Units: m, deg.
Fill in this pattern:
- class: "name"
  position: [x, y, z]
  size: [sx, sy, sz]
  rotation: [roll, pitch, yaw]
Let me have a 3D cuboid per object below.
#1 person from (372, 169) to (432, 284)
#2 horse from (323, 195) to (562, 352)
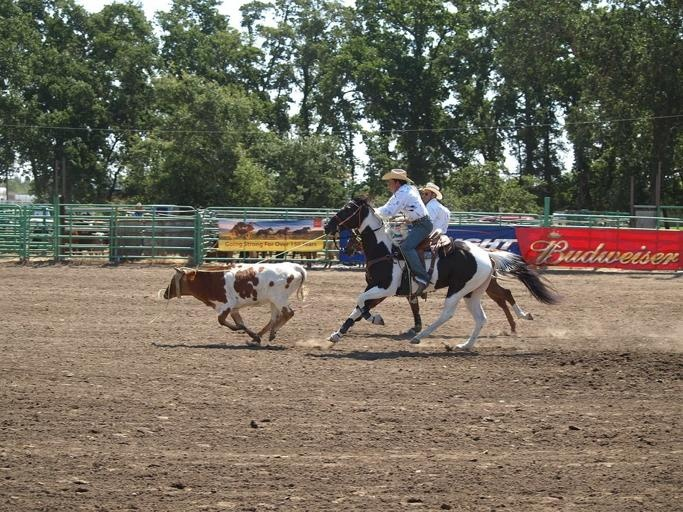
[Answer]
- class: "person"
  position: [1.504, -0.663, 26.101]
  size: [1.200, 2.635, 1.495]
  rotation: [-3, 16, -8]
- class: "horse"
  position: [2.157, 0.384, 25.992]
  size: [4.988, 3.406, 1.588]
  rotation: [-1, 16, -3]
